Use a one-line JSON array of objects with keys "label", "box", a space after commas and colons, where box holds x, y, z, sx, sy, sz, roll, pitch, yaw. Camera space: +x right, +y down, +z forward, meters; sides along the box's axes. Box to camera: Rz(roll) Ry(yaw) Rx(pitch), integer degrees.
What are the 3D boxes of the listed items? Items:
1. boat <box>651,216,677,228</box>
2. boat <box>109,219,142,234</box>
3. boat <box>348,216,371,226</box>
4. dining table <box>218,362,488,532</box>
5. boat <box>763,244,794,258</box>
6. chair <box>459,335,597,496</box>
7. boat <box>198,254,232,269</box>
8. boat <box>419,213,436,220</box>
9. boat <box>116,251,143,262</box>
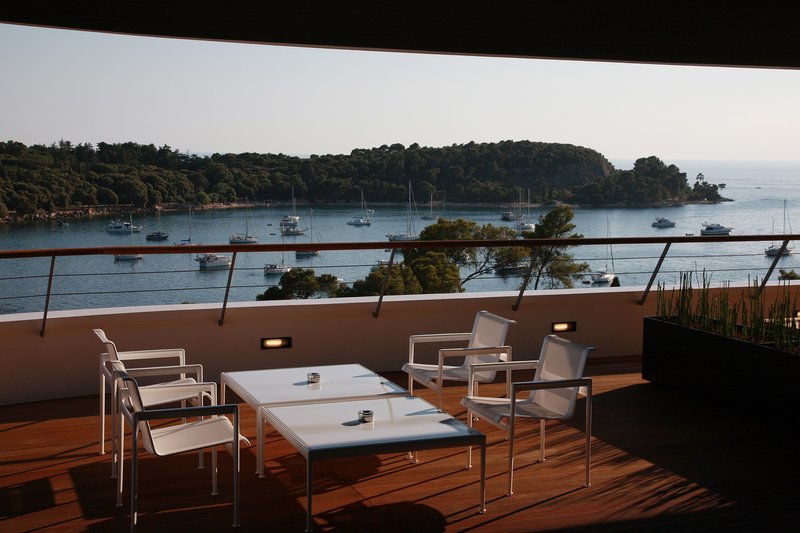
[{"label": "boat", "box": [17.713, -2.930, 43.796, 1.867, 0.686, 0.570, -2, 13, -10]}, {"label": "boat", "box": [-17.515, -2.486, 41.179, 2.586, 1.115, 0.744, 1, 4, -29]}, {"label": "boat", "box": [-2.525, -2.849, 41.428, 1.778, 0.828, 0.532, 6, 6, 29]}, {"label": "dining table", "box": [-0.381, 1.202, 4.691, 1.170, 0.641, 1.813, -7, 15, -33]}, {"label": "boat", "box": [4.413, -0.183, 7.627, 0.558, 0.172, 0.155, 3, 1, -29]}, {"label": "chair", "box": [1.116, 0.929, 4.848, 1.087, 1.274, 1.063, 0, 0, -18]}, {"label": "boat", "box": [-2.157, -0.064, 7.609, 0.391, 0.131, 0.234, 4, 4, 24]}, {"label": "boat", "box": [1.700, -3.010, 38.934, 0.835, 0.185, 0.388, -6, 12, -37]}, {"label": "boat", "box": [-4.150, -0.150, 10.000, 0.484, 0.105, 0.135, -1, 10, 12]}]
